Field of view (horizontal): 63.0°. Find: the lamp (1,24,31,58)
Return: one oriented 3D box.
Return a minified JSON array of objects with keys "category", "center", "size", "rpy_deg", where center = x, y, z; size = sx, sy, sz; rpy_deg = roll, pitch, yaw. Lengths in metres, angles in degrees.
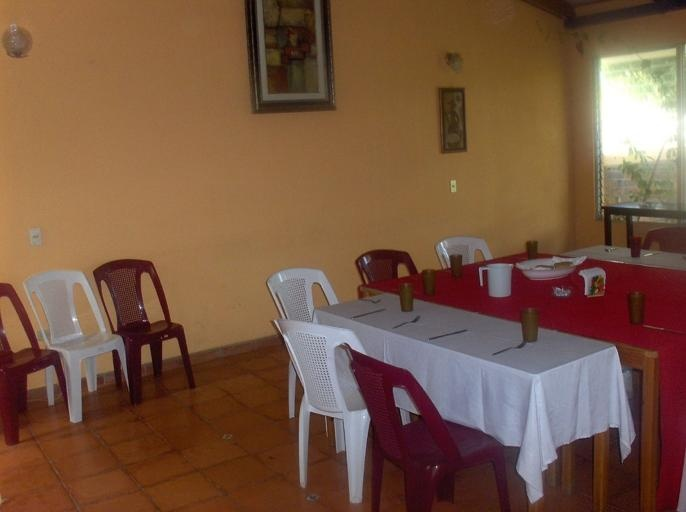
[{"category":"lamp","center":[-2.152,-1.436,3.692],"size":[0.150,0.218,0.137],"rpy_deg":[2,13,22]}]

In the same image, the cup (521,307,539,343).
[{"category":"cup","center":[0.839,0.305,2.517],"size":[0.075,0.147,0.089],"rpy_deg":[2,13,19]}]

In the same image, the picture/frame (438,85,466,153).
[{"category":"picture/frame","center":[1.136,-1.407,5.771],"size":[0.367,0.652,0.090],"rpy_deg":[-11,15,-34]}]

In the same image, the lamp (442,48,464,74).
[{"category":"lamp","center":[1.124,-2.005,5.742],"size":[0.058,0.201,0.173],"rpy_deg":[-8,33,52]}]

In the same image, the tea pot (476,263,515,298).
[{"category":"tea pot","center":[0.864,0.134,3.207],"size":[0.194,0.201,0.163],"rpy_deg":[-4,10,4]}]

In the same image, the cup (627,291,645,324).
[{"category":"cup","center":[1.380,0.229,2.631],"size":[0.071,0.151,0.143],"rpy_deg":[5,15,31]}]

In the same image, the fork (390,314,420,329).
[{"category":"fork","center":[0.331,0.337,2.849],"size":[0.199,0.011,0.063],"rpy_deg":[-12,16,-34]}]

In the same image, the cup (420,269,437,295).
[{"category":"cup","center":[0.506,0.151,3.277],"size":[0.112,0.201,0.121],"rpy_deg":[-2,10,0]}]
